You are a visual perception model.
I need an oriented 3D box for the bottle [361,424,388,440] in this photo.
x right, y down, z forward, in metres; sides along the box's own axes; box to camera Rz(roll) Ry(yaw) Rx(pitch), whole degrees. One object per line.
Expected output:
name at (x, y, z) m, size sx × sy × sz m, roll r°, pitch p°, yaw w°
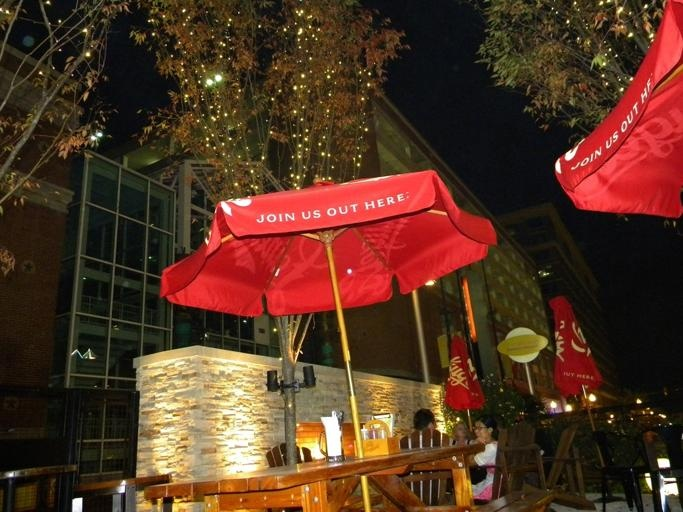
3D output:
bottle at (0.343, 1.851, 5.670) m, size 0.184 × 0.184 × 0.182 m, roll -1°, pitch -17°, yaw 1°
